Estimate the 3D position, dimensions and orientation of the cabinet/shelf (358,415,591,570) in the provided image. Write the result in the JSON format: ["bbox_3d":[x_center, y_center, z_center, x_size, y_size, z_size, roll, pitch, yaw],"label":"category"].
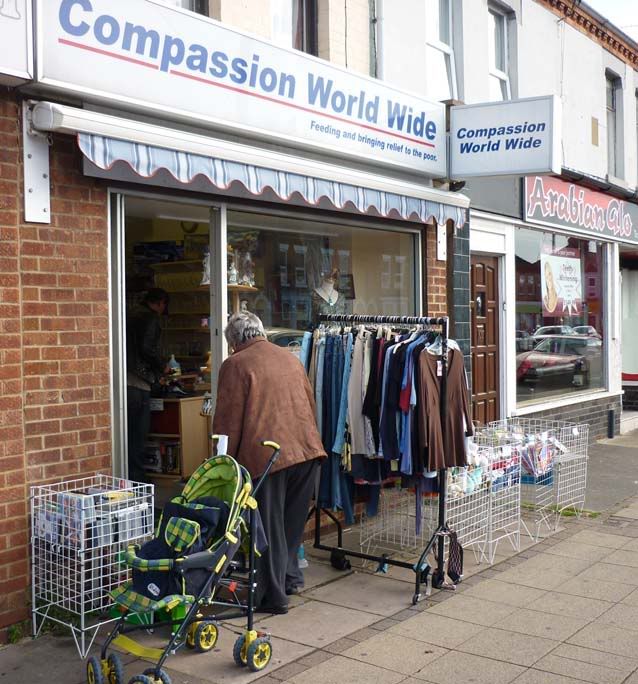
[{"bbox_3d":[1.457,1.183,6.231,2.492,1.006,0.981,0,0,-45],"label":"cabinet/shelf"}]

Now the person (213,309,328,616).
[{"bbox_3d":[-0.303,0.719,4.568,0.722,1.822,0.681,-10,13,-39],"label":"person"}]

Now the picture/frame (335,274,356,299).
[{"bbox_3d":[0.246,-0.538,6.823,0.045,0.288,0.221,-3,0,34],"label":"picture/frame"}]
